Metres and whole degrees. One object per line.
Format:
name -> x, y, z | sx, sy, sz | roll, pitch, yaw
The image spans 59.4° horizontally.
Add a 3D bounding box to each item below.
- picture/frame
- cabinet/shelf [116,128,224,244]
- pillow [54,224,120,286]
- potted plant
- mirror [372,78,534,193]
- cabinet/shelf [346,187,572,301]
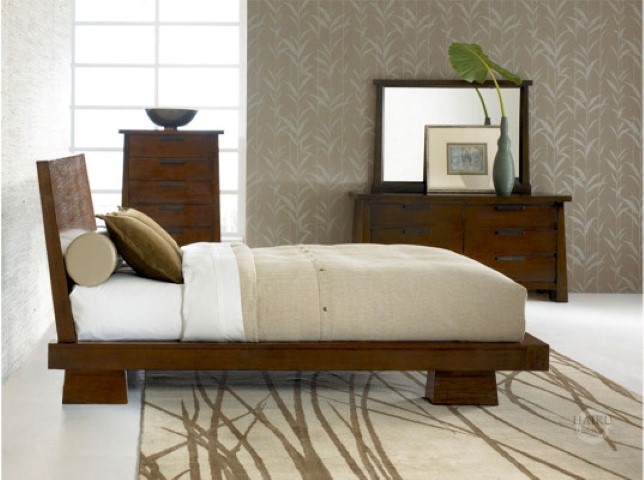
picture/frame -> 1.221, -0.662, 4.836 | 0.688, 0.552, 0.077 | 0, -10, 1
cabinet/shelf -> -1.286, -0.477, 4.622 | 0.851, 1.066, 0.631 | -1, 26, -17
pillow -> -1.059, 0.080, 2.496 | 0.251, 0.243, 0.086 | -1, 10, -13
potted plant -> 1.407, -1.074, 4.879 | 0.609, 1.311, 0.580 | 5, 10, 25
mirror -> 1.131, -0.938, 4.942 | 1.125, 0.789, 0.079 | 0, -1, -1
cabinet/shelf -> 1.132, 0.070, 4.795 | 1.765, 0.836, 0.680 | 1, -2, 0
